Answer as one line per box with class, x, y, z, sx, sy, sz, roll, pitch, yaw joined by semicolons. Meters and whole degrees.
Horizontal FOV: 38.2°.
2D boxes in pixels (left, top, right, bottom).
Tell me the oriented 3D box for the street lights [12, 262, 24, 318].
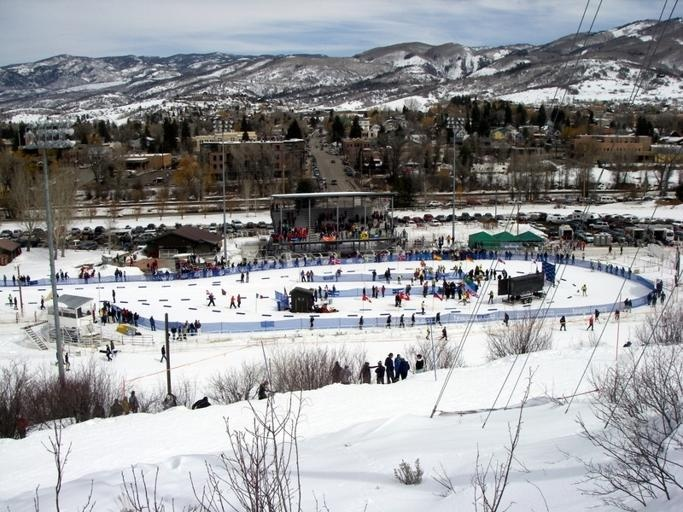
street lights;-20.983;2.277;63.618;0.679;0.851;3.622;-6;54;-17
